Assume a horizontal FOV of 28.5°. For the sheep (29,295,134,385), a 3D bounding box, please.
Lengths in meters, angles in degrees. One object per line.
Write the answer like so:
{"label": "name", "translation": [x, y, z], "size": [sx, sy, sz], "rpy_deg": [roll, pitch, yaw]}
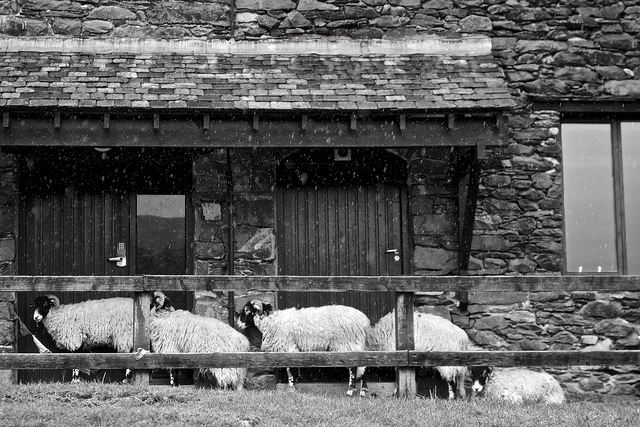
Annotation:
{"label": "sheep", "translation": [-3.590, 1.841, 19.625], "size": [2.184, 1.688, 0.926], "rpy_deg": [2, -8, 2]}

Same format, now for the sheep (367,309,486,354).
{"label": "sheep", "translation": [1.565, 2.039, 19.799], "size": [1.506, 0.870, 0.776], "rpy_deg": [-1, -31, 11]}

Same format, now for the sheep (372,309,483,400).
{"label": "sheep", "translation": [1.613, 2.241, 19.547], "size": [1.401, 1.298, 0.999], "rpy_deg": [-1, -2, 6]}

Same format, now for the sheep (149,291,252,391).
{"label": "sheep", "translation": [-1.863, 1.968, 19.219], "size": [1.490, 1.482, 0.825], "rpy_deg": [0, -2, -4]}

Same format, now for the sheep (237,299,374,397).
{"label": "sheep", "translation": [-0.471, 2.213, 20.055], "size": [2.801, 1.884, 0.994], "rpy_deg": [1, -23, 0]}

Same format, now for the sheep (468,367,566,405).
{"label": "sheep", "translation": [2.944, 2.685, 18.911], "size": [1.417, 0.738, 0.547], "rpy_deg": [0, 4, -3]}
